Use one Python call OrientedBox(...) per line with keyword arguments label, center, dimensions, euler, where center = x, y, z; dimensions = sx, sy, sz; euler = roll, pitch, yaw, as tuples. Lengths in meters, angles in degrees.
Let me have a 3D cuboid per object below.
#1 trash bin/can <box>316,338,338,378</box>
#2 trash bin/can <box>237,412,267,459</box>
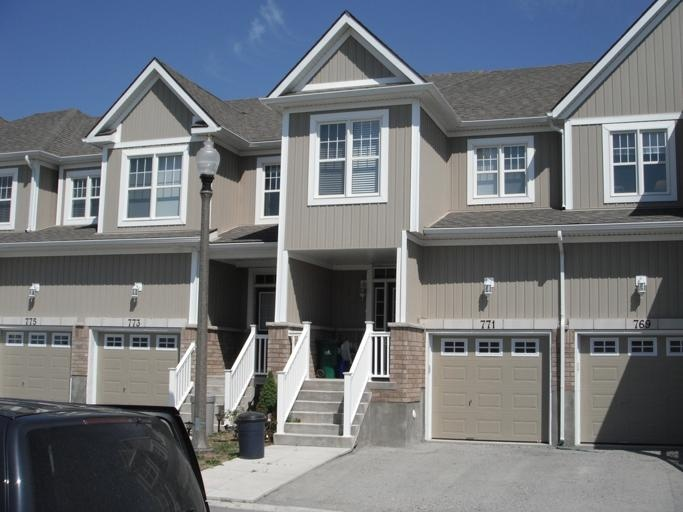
OrientedBox(label="trash bin/can", center=(-0.228, 2.982, 21.573), dimensions=(0.661, 1.028, 0.714), euler=(3, -4, 29))
OrientedBox(label="trash bin/can", center=(-1.935, 3.865, 16.092), dimensions=(0.575, 0.949, 0.329), euler=(1, 1, -12))
